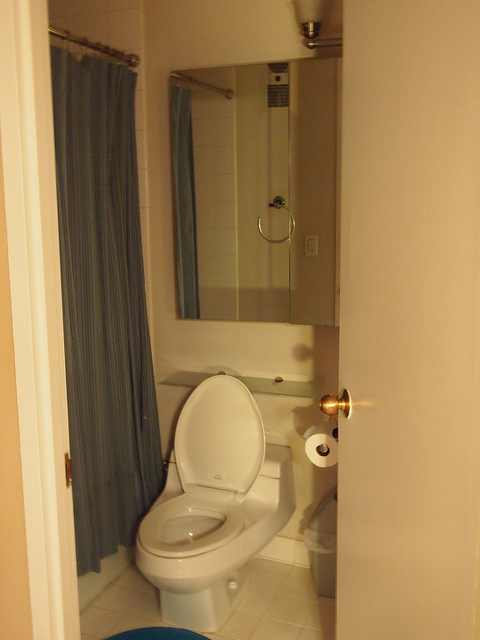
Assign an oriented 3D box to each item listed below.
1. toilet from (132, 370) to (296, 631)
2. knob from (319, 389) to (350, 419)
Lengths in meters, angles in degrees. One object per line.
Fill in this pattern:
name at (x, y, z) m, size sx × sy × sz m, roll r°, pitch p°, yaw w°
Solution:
toilet at (-0.124, 0.616, 2.142) m, size 0.516 × 0.740 × 0.693 m, roll 5°, pitch 10°, yaw 26°
knob at (0.170, 0.154, 1.156) m, size 0.051 × 0.051 × 0.047 m, roll 2°, pitch -3°, yaw -15°
